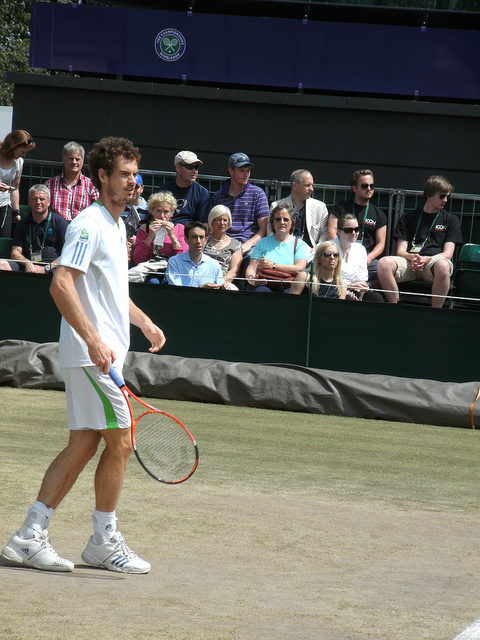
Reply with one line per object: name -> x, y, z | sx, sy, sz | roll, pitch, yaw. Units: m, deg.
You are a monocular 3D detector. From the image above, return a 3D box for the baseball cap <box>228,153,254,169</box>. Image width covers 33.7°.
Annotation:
baseball cap -> -0.032, -1.730, 8.513 | 0.213, 0.128, 0.275 | -4, 1, -34

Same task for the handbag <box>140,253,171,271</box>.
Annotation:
handbag -> -0.844, -0.584, 7.895 | 0.276, 0.079, 0.186 | 3, 28, 13

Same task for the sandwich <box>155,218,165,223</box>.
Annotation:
sandwich -> -0.798, -0.999, 7.912 | 0.066, 0.013, 0.058 | 9, -3, 6

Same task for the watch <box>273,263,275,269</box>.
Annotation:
watch -> 0.328, -0.519, 7.595 | 0.015, 0.043, 0.037 | 6, 4, 5

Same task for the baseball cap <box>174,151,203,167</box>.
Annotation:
baseball cap -> -0.592, -1.739, 8.411 | 0.291, 0.120, 0.198 | -2, 2, 38

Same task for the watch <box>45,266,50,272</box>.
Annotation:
watch -> -1.926, -0.513, 7.867 | 0.042, 0.057, 0.021 | 4, 4, -21

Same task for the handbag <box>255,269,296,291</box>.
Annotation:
handbag -> 0.344, -0.385, 7.525 | 0.335, 0.198, 0.163 | 5, 4, 5

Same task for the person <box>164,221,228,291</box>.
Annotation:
person -> -0.437, -0.593, 7.656 | 0.626, 0.705, 0.729 | 1, -3, -18
